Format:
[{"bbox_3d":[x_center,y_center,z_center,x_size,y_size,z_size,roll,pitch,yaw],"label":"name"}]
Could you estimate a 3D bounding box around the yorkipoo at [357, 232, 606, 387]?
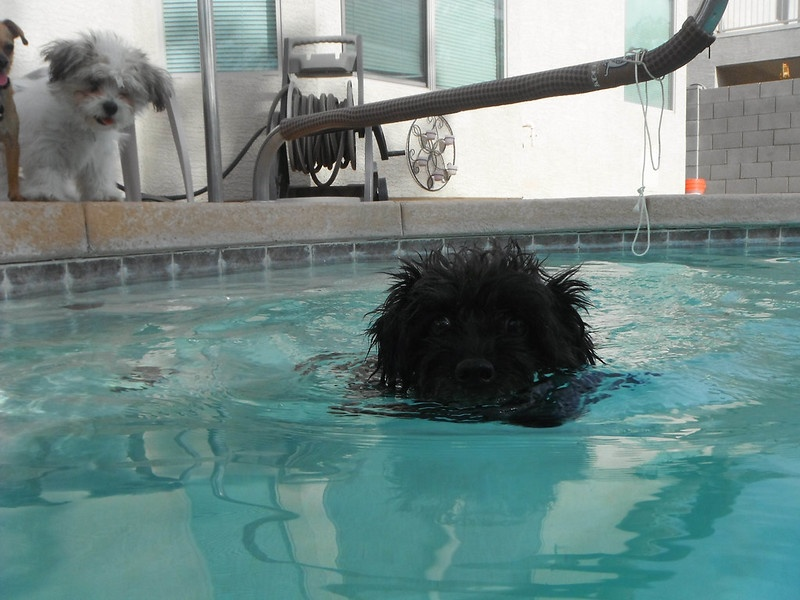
[{"bbox_3d":[0.171,0.037,2.039,0.775,0.410,0.745,4,5,22],"label":"yorkipoo"}]
